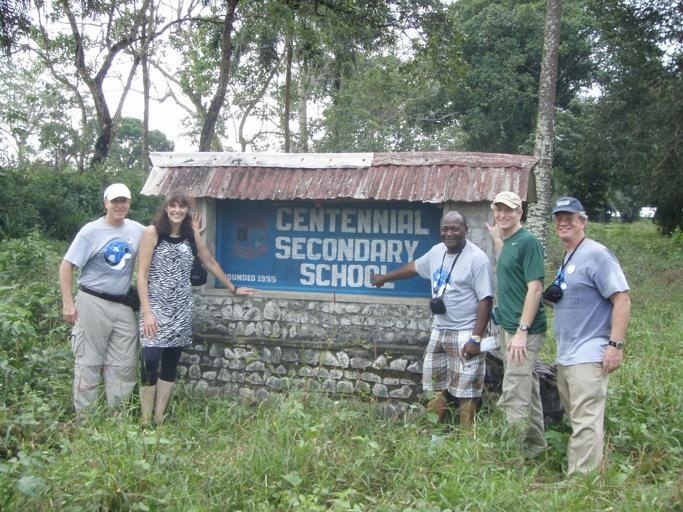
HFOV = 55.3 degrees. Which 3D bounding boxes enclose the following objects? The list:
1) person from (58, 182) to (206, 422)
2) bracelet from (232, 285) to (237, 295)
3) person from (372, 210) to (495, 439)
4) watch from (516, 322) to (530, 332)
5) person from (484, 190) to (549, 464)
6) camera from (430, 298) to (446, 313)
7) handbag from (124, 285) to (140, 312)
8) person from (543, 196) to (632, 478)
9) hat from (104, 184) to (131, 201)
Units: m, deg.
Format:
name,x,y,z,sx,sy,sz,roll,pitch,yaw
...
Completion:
name,x,y,z,sx,sy,sz,roll,pitch,yaw
person,-2.880,0.603,8.069,0.965,3.043,0.852,3,16,-18
bracelet,-1.438,0.450,8.830,0.059,0.095,0.101,2,-21,-1
person,1.387,0.734,7.799,0.790,2.494,0.335,1,-1,14
watch,2.041,0.803,7.343,0.099,0.094,0.103,2,-9,29
person,2.031,0.771,7.593,0.668,3.076,0.617,1,-1,34
camera,1.155,0.592,7.755,0.116,0.139,0.072,-18,10,34
handbag,-2.594,0.535,8.099,0.178,0.287,0.252,5,8,30
person,2.666,0.868,7.123,0.868,3.032,0.488,1,-1,25
hat,-2.784,-0.780,8.065,0.276,0.202,0.510,2,-1,-21
